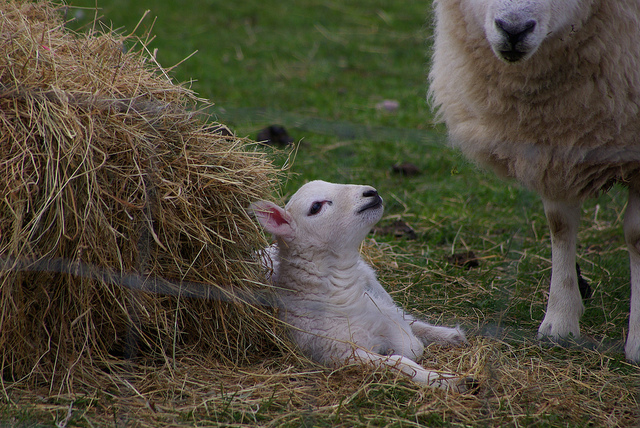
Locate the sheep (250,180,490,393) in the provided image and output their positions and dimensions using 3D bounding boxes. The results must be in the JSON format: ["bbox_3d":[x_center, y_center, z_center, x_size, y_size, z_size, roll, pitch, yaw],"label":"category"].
[{"bbox_3d":[0.361,0.500,7.013,1.050,1.381,2.479,-10,8,-34],"label":"sheep"}]
